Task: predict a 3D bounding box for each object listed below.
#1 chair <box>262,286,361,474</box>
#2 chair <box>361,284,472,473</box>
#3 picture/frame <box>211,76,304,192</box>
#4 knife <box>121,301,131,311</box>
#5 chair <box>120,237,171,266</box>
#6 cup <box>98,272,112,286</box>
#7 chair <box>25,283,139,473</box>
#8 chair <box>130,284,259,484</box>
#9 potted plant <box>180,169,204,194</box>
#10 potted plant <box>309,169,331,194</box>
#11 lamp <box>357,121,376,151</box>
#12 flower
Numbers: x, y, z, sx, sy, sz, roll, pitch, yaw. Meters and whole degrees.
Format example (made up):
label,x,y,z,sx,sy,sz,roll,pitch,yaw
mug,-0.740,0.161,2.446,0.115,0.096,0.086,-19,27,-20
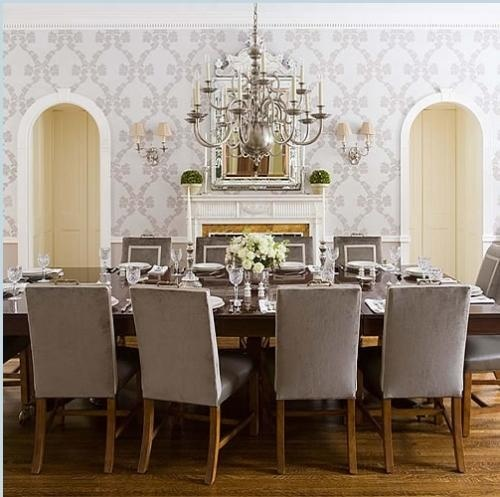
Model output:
label,x,y,z,sx,sy,sz,roll,pitch,yaw
chair,0.322,0.632,2.620,0.352,0.818,0.497,2,-16,0
chair,0.808,0.537,2.740,0.461,0.922,0.576,-5,13,-12
picture/frame,0.078,-0.913,4.506,1.141,1.014,0.059,0,0,1
knife,-0.611,0.285,2.798,0.027,0.030,0.101,2,3,-7
chair,-0.782,0.019,4.288,0.379,0.200,0.274,1,9,6
cup,-0.863,0.182,3.376,0.079,0.097,0.053,1,2,-3
chair,-0.806,0.528,2.803,0.453,0.972,0.576,-2,18,-16
chair,-0.258,0.562,2.680,0.471,0.890,0.515,2,9,14
potted plant,-0.586,-0.688,5.656,0.201,0.250,0.221,1,1,16
potted plant,0.701,-0.670,5.605,0.190,0.243,0.206,0,-1,1
lamp,1.189,-1.128,5.711,0.153,0.294,0.168,2,9,13
flower,0.016,0.042,3.193,0.265,0.241,0.294,-5,-15,11
